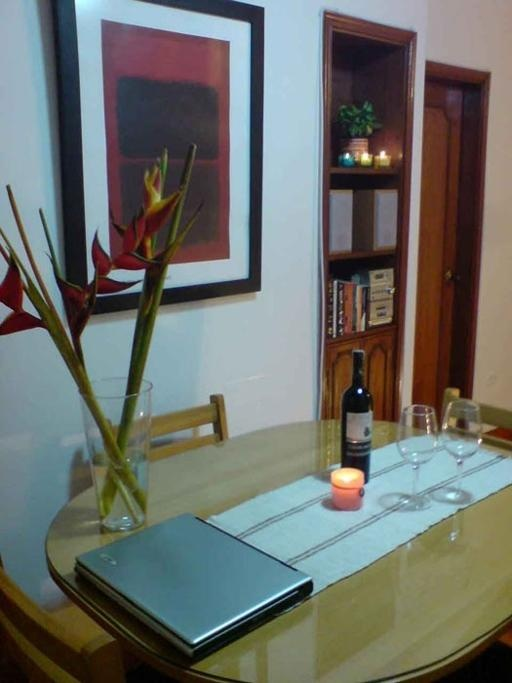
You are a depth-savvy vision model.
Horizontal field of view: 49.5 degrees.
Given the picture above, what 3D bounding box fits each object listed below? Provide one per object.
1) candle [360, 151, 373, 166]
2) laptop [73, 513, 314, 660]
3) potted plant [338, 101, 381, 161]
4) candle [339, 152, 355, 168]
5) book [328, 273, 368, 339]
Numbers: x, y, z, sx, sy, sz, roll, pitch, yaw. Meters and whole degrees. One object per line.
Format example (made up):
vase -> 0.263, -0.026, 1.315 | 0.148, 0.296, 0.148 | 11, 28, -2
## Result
candle -> 0.526, -0.845, 2.621 | 0.055, 0.086, 0.060 | 0, 0, 39
laptop -> -0.084, 0.359, 0.814 | 0.195, 0.039, 0.211 | -11, 23, -38
potted plant -> 0.493, -0.986, 2.675 | 0.196, 0.301, 0.272 | 1, 6, 12
candle -> 0.425, -0.840, 2.577 | 0.060, 0.080, 0.061 | -8, 8, -38
book -> 0.438, -0.154, 2.675 | 0.180, 0.345, 0.281 | 2, 5, 29
